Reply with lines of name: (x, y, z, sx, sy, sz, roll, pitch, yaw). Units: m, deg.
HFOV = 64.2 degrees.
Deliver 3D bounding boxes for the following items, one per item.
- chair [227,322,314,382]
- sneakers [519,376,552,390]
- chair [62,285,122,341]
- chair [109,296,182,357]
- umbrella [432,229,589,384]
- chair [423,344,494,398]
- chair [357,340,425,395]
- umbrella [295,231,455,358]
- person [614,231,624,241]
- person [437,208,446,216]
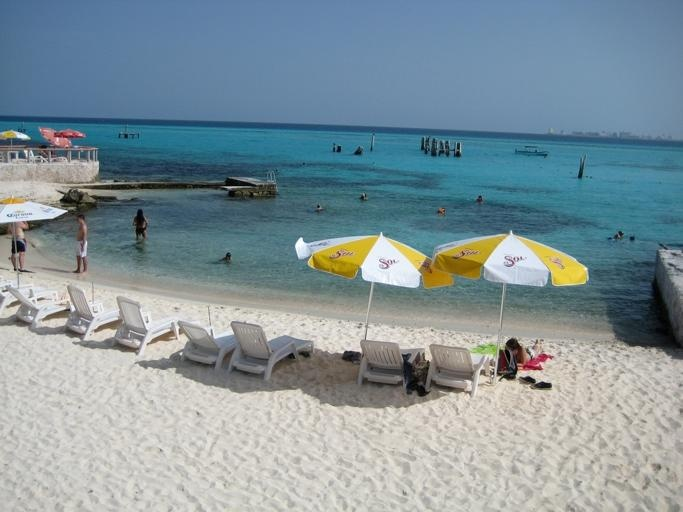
chair: (-1.326, 1.701, 10.842, 0.981, 0.775, 1.885, 3, 4, 27)
sneakers: (3.574, 2.356, 10.062, 0.382, 0.099, 0.234, 9, 5, 27)
chair: (-5.448, 1.167, 11.618, 0.932, 0.872, 1.440, 13, 13, 30)
chair: (-3.983, 1.380, 11.496, 0.994, 0.838, 1.410, 4, 3, 29)
umbrella: (3.081, 0.469, 9.745, 1.939, 1.658, 1.883, 13, 17, 36)
chair: (2.122, 1.937, 9.907, 0.795, 0.687, 1.265, 6, 18, 22)
chair: (0.996, 2.011, 10.426, 0.989, 0.739, 1.556, -1, -3, 24)
umbrella: (0.481, 0.522, 9.852, 1.980, 1.142, 1.824, 2, 13, 0)
person: (13.850, -0.978, 27.199, 0.512, 0.427, 1.031, 0, 10, 28)
person: (6.226, -2.718, 33.661, 0.654, 0.342, 0.765, -7, 3, 3)
